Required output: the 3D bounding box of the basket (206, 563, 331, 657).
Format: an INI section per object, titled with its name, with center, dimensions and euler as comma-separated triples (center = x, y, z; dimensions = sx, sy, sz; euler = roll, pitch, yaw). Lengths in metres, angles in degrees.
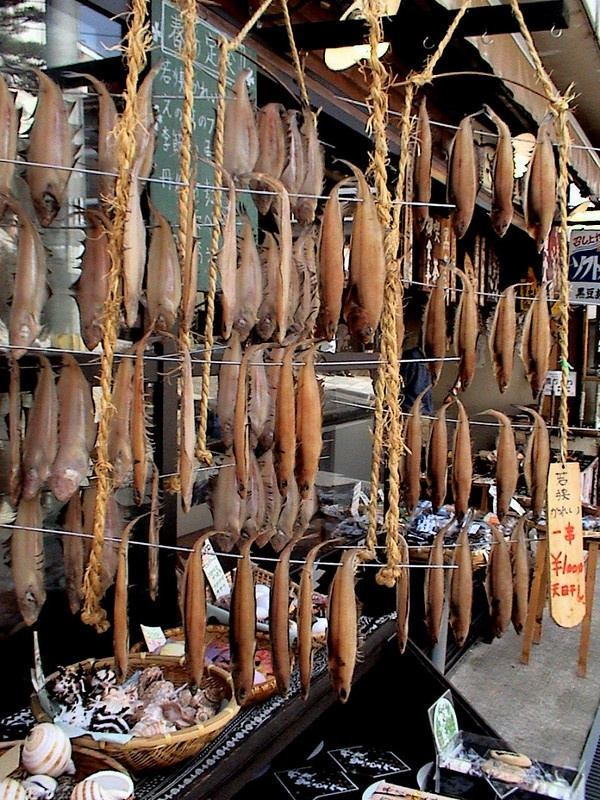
[basket]
center = -0.077, 0.579, 2.103
dimensions = 0.266, 0.091, 0.444
euler = 1, 9, -38
